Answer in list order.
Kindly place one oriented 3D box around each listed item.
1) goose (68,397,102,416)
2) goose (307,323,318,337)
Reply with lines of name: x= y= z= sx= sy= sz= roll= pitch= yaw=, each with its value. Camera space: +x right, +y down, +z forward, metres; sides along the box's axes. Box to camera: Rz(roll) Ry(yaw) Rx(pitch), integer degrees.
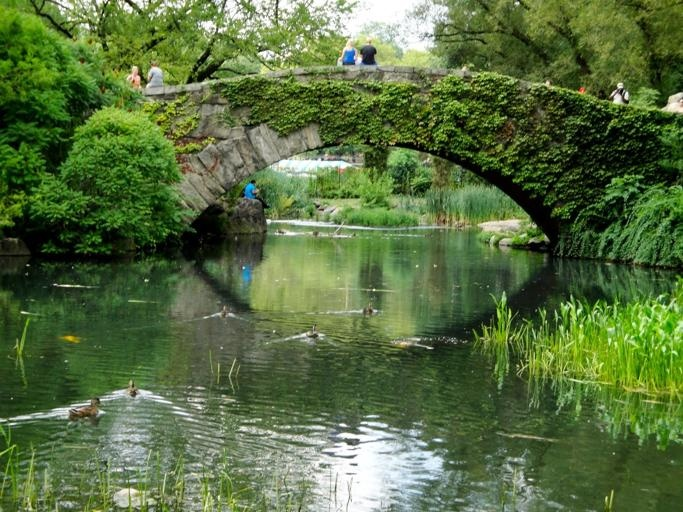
goose: x=-2.156 y=1.259 z=5.991 sx=0.205 sy=0.166 sz=0.121 roll=5 pitch=-8 yaw=-22
goose: x=-0.360 y=0.904 z=8.482 sx=0.066 sy=0.105 sz=0.224 roll=1 pitch=-9 yaw=-15
